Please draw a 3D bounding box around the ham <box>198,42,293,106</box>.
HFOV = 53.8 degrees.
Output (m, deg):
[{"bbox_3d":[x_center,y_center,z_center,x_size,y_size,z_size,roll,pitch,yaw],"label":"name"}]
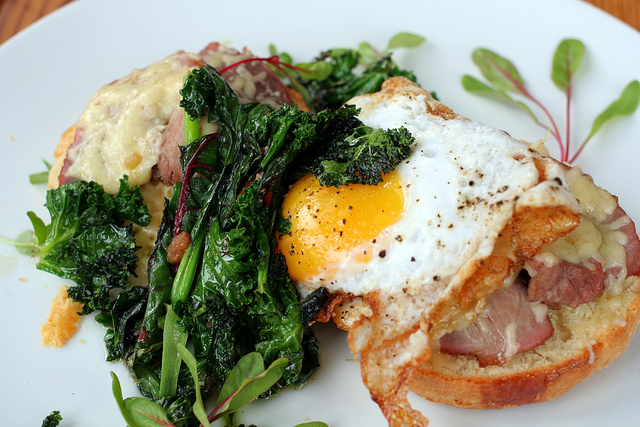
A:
[{"bbox_3d":[-0.618,-1.046,5.144,0.837,0.749,0.493,-5,-63,-10],"label":"ham"}]
